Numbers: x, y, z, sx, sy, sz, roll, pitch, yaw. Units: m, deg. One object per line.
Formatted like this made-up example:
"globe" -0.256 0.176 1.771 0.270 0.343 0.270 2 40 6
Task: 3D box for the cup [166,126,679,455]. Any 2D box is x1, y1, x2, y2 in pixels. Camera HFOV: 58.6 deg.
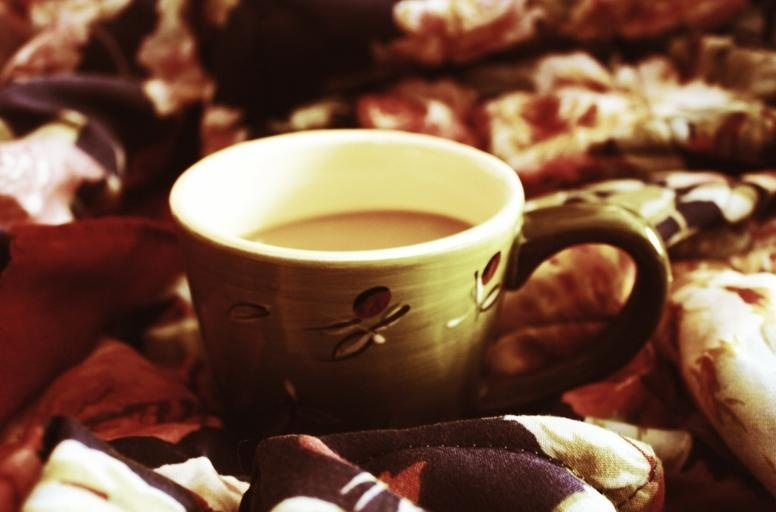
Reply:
"cup" 0.018 0.007 0.520 0.320 0.163 0.211 -15 46 -13
